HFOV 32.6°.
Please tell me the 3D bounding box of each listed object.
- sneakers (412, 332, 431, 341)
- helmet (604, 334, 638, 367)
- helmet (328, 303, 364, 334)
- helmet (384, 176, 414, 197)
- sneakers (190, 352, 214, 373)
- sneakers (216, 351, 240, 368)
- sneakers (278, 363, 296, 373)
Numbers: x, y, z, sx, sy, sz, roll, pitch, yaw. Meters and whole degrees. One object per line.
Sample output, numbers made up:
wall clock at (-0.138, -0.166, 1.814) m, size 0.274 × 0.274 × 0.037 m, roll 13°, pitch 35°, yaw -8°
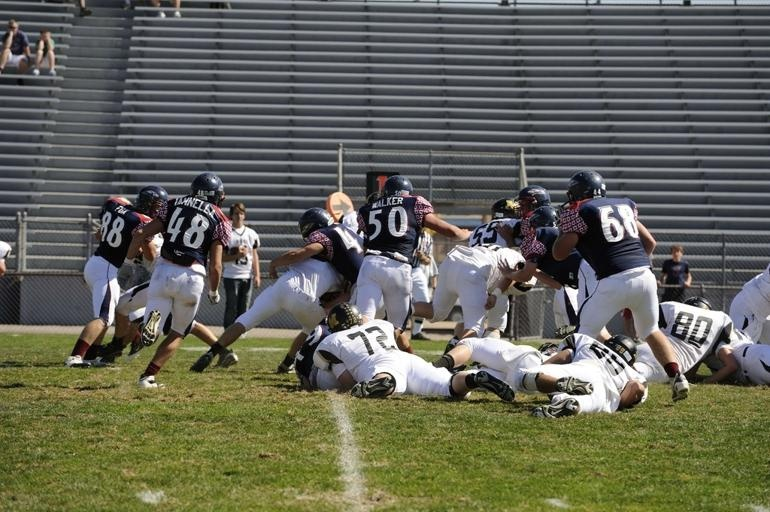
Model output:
sneakers at (0.785, 1.834, 29.759) m, size 0.455 × 0.183 × 0.155 m, roll 2°, pitch 11°, yaw 1°
helmet at (4.123, 1.689, 22.933) m, size 0.436 × 0.471 × 0.579 m, roll 51°, pitch 1°, yaw 20°
helmet at (-0.775, 1.118, 23.296) m, size 0.578 × 0.514 × 0.436 m, roll 5°, pitch 2°, yaw 27°
helmet at (0.181, -1.328, 24.591) m, size 0.365 × 0.405 × 0.457 m, roll -6°, pitch 16°, yaw -32°
sneakers at (-3.487, 2.044, 24.857) m, size 0.118 × 0.354 × 0.164 m, roll 54°, pitch 8°, yaw 28°
sneakers at (-3.015, 1.973, 25.011) m, size 0.500 × 0.241 × 0.205 m, roll -33°, pitch 5°, yaw 33°
sneakers at (-1.909, 2.148, 24.909) m, size 0.358 × 0.254 × 0.120 m, roll -5°, pitch 10°, yaw -21°
